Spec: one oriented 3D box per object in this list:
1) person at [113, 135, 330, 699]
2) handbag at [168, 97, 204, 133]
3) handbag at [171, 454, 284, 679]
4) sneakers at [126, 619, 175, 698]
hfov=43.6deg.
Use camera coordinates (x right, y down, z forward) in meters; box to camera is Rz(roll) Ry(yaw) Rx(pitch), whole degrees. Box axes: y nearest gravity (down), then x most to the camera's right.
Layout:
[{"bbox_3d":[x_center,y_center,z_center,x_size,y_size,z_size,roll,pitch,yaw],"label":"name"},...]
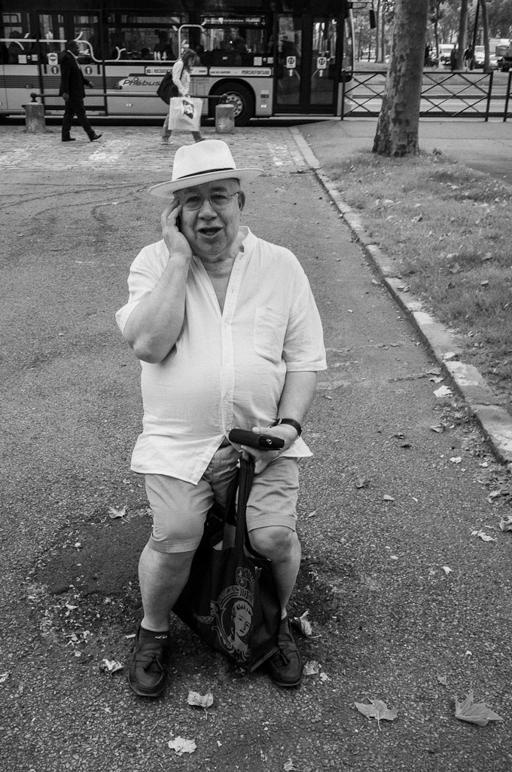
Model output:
[{"bbox_3d":[-0.115,0.120,2.208,0.741,1.778,0.650,0,11,-6],"label":"person"},{"bbox_3d":[-1.706,-6.589,15.468,0.363,0.724,0.907,20,27,40],"label":"handbag"},{"bbox_3d":[-0.080,0.539,2.001,0.180,0.678,0.448,-15,38,-44],"label":"handbag"},{"bbox_3d":[-0.350,0.870,2.046,0.078,0.105,0.236,9,19,-10],"label":"sneakers"}]
